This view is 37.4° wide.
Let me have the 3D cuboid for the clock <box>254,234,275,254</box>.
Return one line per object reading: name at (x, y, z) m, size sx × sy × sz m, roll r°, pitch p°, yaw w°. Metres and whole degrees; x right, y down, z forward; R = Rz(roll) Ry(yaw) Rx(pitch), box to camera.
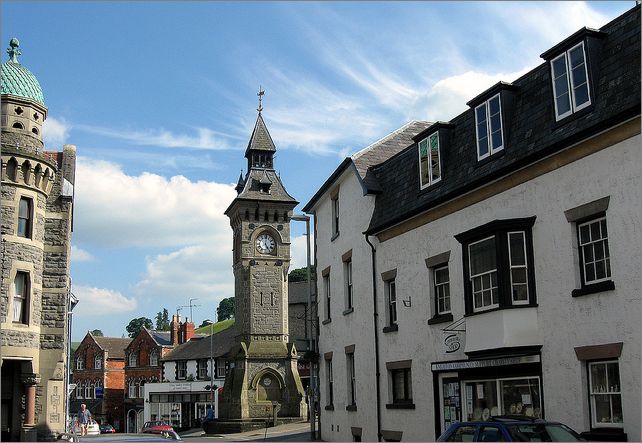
clock at (-4.470, 1.847, 73.297) m, size 1.293 × 1.306 × 0.136 m, roll -24°, pitch -21°, yaw -38°
